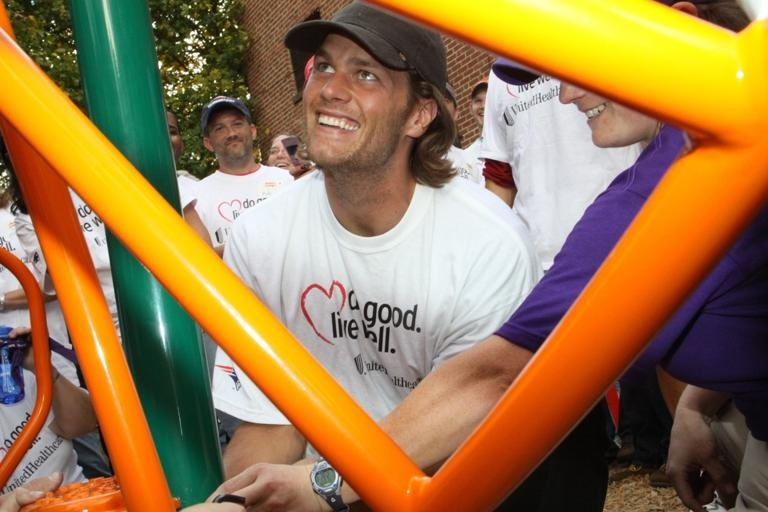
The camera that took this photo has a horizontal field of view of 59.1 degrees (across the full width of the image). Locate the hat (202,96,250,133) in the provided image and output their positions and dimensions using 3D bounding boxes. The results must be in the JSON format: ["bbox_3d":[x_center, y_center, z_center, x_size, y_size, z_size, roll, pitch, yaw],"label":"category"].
[{"bbox_3d":[-1.208,-1.095,5.063,0.281,0.414,0.395,-6,13,-11],"label":"hat"}]
